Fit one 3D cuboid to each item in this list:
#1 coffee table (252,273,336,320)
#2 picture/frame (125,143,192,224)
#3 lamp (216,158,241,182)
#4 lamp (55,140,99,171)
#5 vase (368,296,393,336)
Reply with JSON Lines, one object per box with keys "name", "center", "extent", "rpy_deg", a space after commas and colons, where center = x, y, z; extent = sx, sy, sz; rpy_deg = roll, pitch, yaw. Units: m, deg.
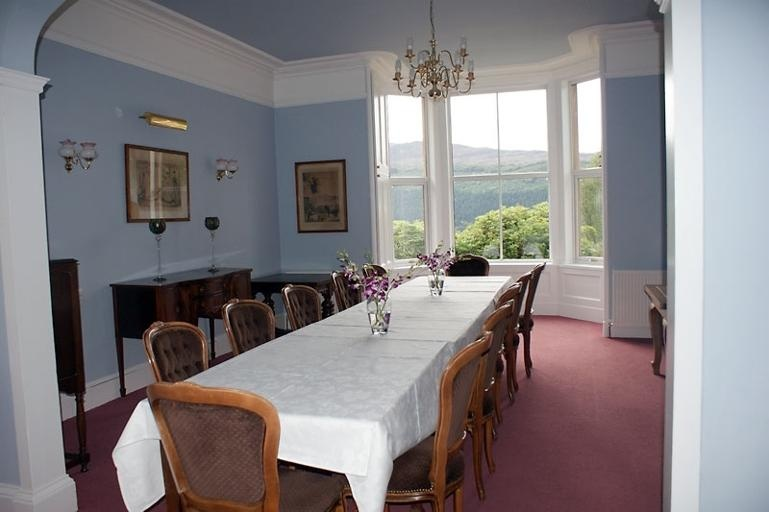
{"name": "coffee table", "center": [-1.117, 0.415, 6.935], "extent": [0.725, 0.751, 0.756], "rpy_deg": [0, 0, 5]}
{"name": "picture/frame", "center": [-2.472, -0.781, 5.692], "extent": [0.090, 0.888, 0.918], "rpy_deg": [0, 1, 24]}
{"name": "lamp", "center": [-1.983, -1.066, 6.591], "extent": [0.246, 0.276, 0.422], "rpy_deg": [-5, 11, -18]}
{"name": "lamp", "center": [-2.828, -0.917, 4.862], "extent": [0.303, 0.271, 0.202], "rpy_deg": [-3, 3, -43]}
{"name": "vase", "center": [-0.037, 0.448, 3.949], "extent": [0.236, 0.381, 0.233], "rpy_deg": [0, -2, -5]}
